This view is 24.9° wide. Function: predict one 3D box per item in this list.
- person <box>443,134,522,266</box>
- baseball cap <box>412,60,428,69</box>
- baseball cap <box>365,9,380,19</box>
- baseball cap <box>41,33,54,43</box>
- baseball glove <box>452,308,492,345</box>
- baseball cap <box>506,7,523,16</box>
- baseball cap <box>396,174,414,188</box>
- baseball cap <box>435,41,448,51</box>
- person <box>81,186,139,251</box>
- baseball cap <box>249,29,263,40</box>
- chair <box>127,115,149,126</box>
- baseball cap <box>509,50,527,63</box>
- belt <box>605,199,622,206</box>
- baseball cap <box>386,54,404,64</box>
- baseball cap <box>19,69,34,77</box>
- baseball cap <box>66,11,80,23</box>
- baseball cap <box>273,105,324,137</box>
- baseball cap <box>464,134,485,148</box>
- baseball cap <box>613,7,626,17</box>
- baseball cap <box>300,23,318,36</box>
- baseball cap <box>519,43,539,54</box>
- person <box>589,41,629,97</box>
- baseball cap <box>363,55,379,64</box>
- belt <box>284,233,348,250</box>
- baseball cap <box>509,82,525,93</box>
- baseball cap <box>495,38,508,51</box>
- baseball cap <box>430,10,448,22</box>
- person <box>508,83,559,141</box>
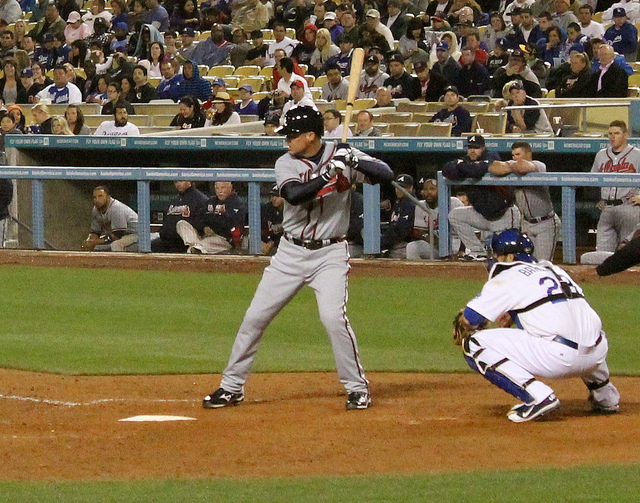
[{"bbox_3d":[2.093,-0.595,18.620,1.008,1.830,0.807,2,2,-11],"label":"person"},{"bbox_3d":[1.457,-2.732,21.102,0.180,0.126,0.311,-1,14,1],"label":"baseball cap"},{"bbox_3d":[0.821,-3.728,22.672,0.186,0.147,0.264,-2,14,-2],"label":"baseball cap"},{"bbox_3d":[-5.155,-4.011,27.170,0.231,0.209,0.361,-3,19,-8],"label":"baseball cap"},{"bbox_3d":[1.370,0.662,13.443,0.273,0.327,0.148,37,39,-16],"label":"baseball glove"},{"bbox_3d":[3.052,-3.768,22.589,0.271,0.113,0.170,-21,19,-35],"label":"baseball cap"},{"bbox_3d":[1.104,-0.939,19.140,0.221,0.163,0.318,-1,14,2],"label":"baseball cap"},{"bbox_3d":[1.785,-3.052,21.366,0.194,0.131,0.144,3,14,15],"label":"baseball cap"},{"bbox_3d":[-2.933,-0.456,20.124,0.802,0.887,0.316,5,15,25],"label":"person"},{"bbox_3d":[-1.103,-3.698,24.547,0.144,0.213,0.188,7,2,24],"label":"baseball cap"},{"bbox_3d":[-2.848,-2.049,22.578,0.252,0.168,0.268,1,0,1],"label":"chair"},{"bbox_3d":[2.787,-2.761,20.461,0.217,0.176,0.412,2,14,14],"label":"baseball cap"},{"bbox_3d":[3.664,-0.609,18.091,0.204,0.082,0.033,4,14,20],"label":"belt"},{"bbox_3d":[1.083,-2.829,21.088,0.193,0.117,0.205,3,7,2],"label":"baseball cap"},{"bbox_3d":[-5.035,-3.051,24.643,0.150,0.131,0.213,0,-1,-1],"label":"baseball cap"},{"bbox_3d":[-4.758,-4.535,27.884,0.183,0.149,0.270,5,22,13],"label":"baseball cap"},{"bbox_3d":[-0.198,-1.261,13.768,0.528,0.313,0.390,2,11,-7],"label":"baseball cap"},{"bbox_3d":[1.993,-1.425,18.623,0.226,0.165,0.299,0,14,5],"label":"baseball cap"},{"bbox_3d":[4.367,-3.514,21.166,0.151,0.122,0.272,1,14,10],"label":"baseball cap"},{"bbox_3d":[-0.195,-3.652,23.706,0.260,0.175,0.372,-2,14,-2],"label":"baseball cap"},{"bbox_3d":[3.025,-2.961,20.974,0.227,0.088,0.156,10,29,-33],"label":"baseball cap"},{"bbox_3d":[4.032,-2.516,20.041,0.587,0.744,0.512,-4,13,-10],"label":"person"},{"bbox_3d":[0.746,-2.871,21.568,0.226,0.125,0.279,4,15,21],"label":"baseball cap"},{"bbox_3d":[-0.071,-0.100,13.765,0.576,0.134,0.173,0,14,4],"label":"belt"},{"bbox_3d":[2.650,-2.243,19.694,0.198,0.143,0.219,3,14,15],"label":"baseball cap"},{"bbox_3d":[2.702,-3.131,21.516,0.164,0.135,0.173,25,36,-4],"label":"baseball cap"},{"bbox_3d":[1.891,-3.772,23.023,0.259,0.158,0.188,-4,14,-8],"label":"baseball cap"},{"bbox_3d":[2.893,-1.922,19.750,0.665,0.791,0.368,1,13,7],"label":"person"}]
